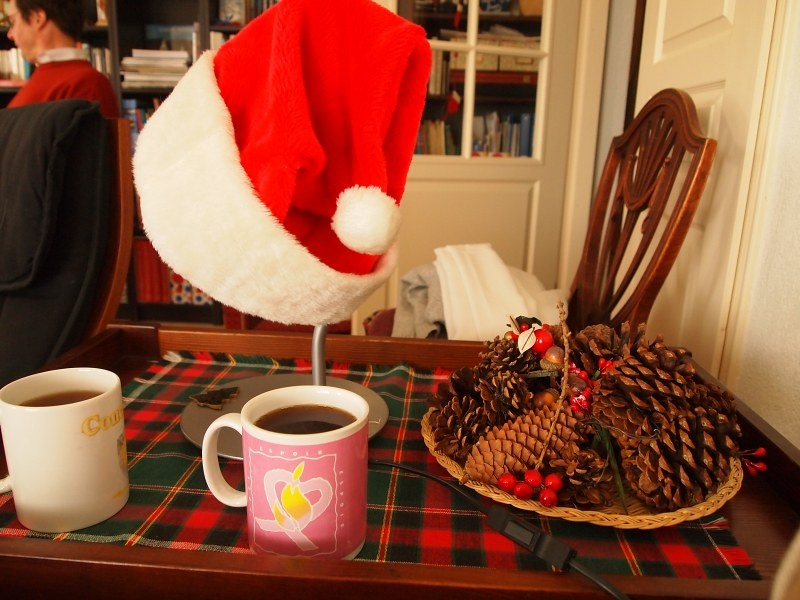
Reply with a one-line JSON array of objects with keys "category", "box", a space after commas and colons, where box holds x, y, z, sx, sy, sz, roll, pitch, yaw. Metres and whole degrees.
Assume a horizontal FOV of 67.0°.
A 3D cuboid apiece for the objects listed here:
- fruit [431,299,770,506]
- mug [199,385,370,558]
[{"category": "fruit", "box": [0.191, 0.118, 0.639, 0.257, 0.125, 0.224, 0, 38, -7]}, {"category": "mug", "box": [-0.087, 0.159, 0.614, 0.175, 0.154, 0.116, -2, 12, 1]}]
